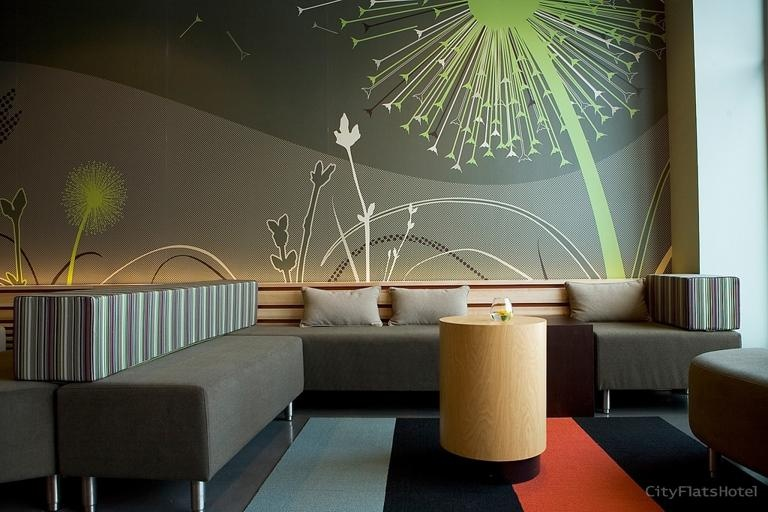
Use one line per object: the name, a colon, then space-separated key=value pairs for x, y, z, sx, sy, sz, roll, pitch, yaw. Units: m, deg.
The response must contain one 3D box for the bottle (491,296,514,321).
bottle: x=0.783 y=0.353 z=3.348 sx=0.136 sy=0.134 sz=0.138 roll=-2 pitch=0 yaw=5
